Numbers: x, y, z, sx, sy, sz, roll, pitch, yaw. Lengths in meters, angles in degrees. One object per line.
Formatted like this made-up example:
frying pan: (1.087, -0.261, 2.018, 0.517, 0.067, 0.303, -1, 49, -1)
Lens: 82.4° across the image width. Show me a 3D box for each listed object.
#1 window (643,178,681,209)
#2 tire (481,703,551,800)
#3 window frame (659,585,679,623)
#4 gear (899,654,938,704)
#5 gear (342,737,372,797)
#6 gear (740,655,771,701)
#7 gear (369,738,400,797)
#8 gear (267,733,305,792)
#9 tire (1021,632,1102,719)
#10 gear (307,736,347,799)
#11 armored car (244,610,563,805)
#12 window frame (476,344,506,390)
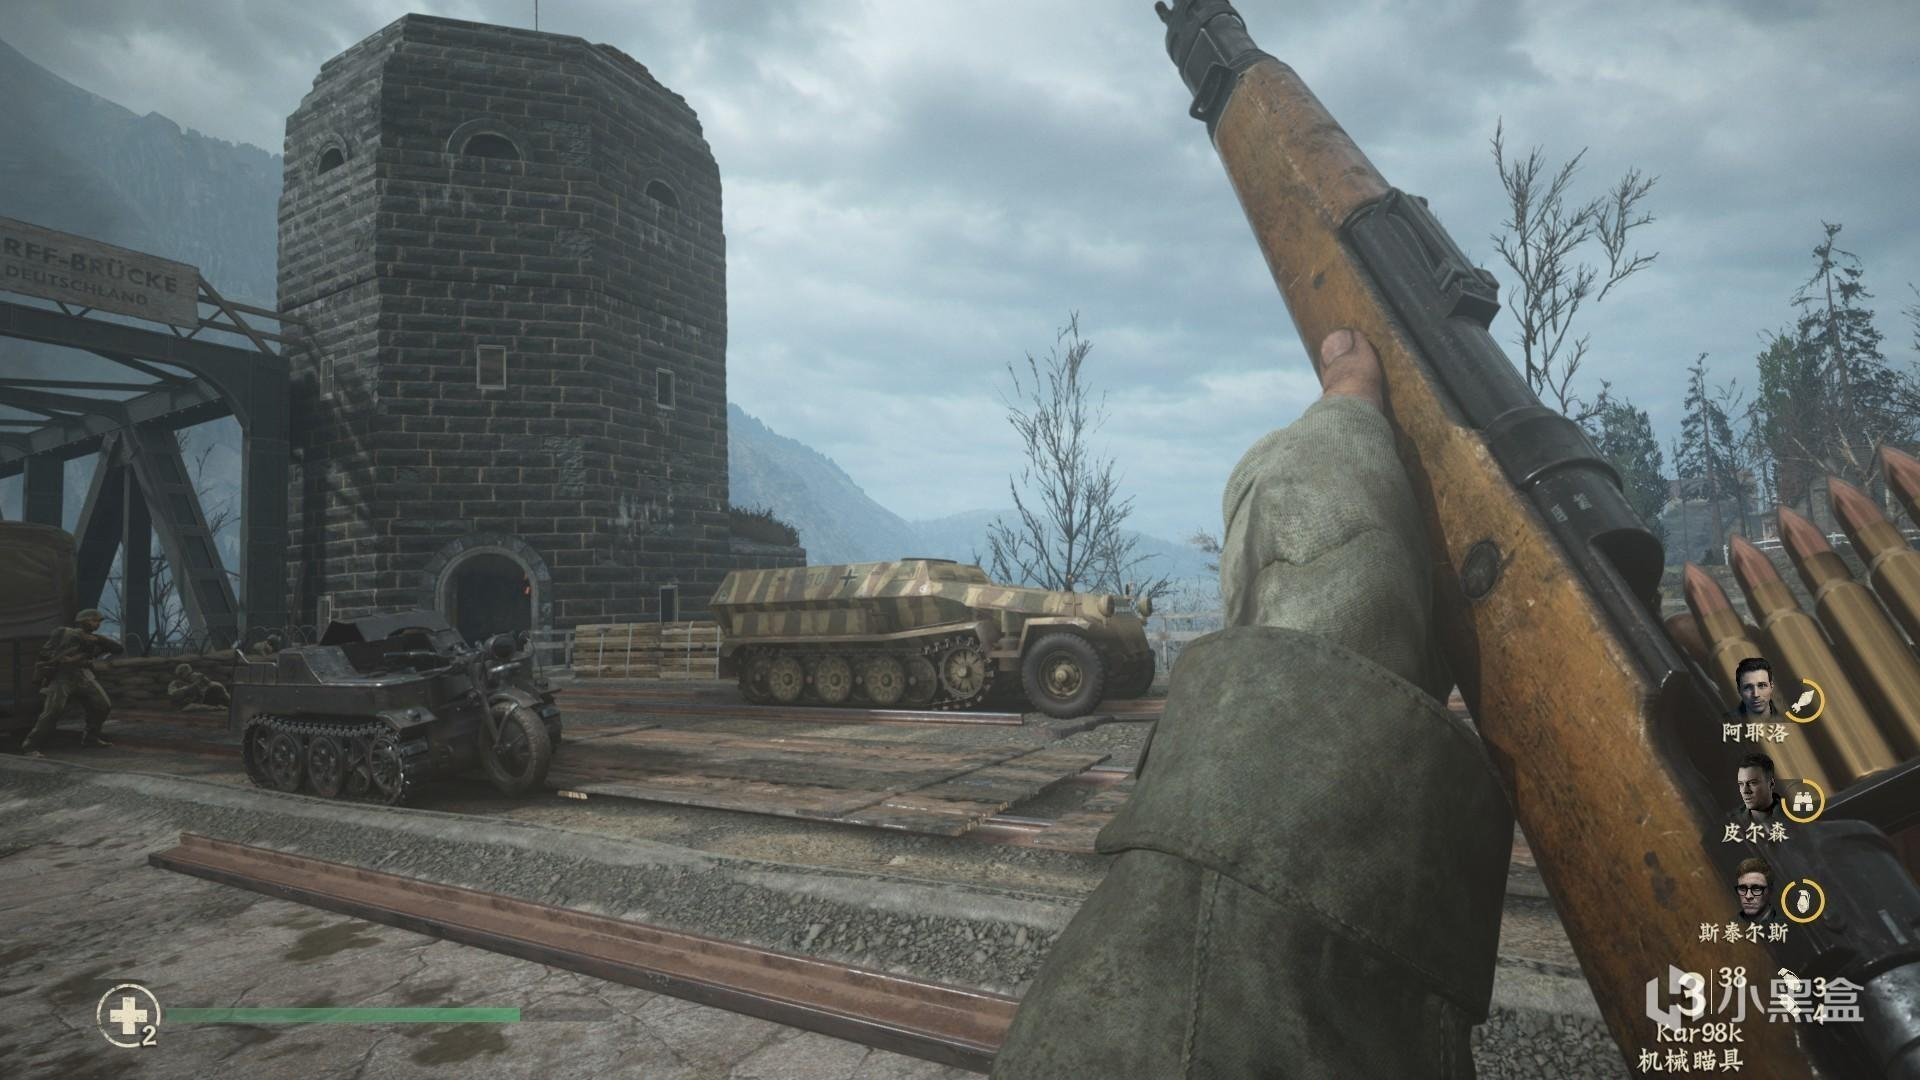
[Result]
window: (-8.850, -10.399, 32.959, 0.148, 0.663, 0.675, -12, -6, 30)
tire: (-6.839, 3.208, 17.027, 1.128, 1.436, 0.310, -3, -6, 21)
window frame: (-8.356, 1.844, 31.639, 0.125, 1.286, 0.978, -7, -7, 37)
gear: (-0.765, 2.860, 22.396, 0.876, 0.900, 0.896, 3, -10, 1)
gear: (-9.208, 3.486, 16.810, 0.525, 0.912, 0.182, -3, -6, 21)
gear: (-4.325, 2.932, 23.638, 0.974, 1.001, 0.334, -1, 0, 45)
gear: (-8.578, 3.431, 16.549, 0.706, 1.006, 0.163, -3, -6, 20)
gear: (-10.534, 3.484, 17.268, 0.867, 0.984, 0.324, -2, -8, 30)
tire: (2.075, 2.609, 21.362, 1.703, 1.742, 0.579, -9, -5, 31)
gear: (-9.694, 3.470, 16.935, 0.948, 1.121, 0.181, 0, 0, 39)
armored car: (-8.771, 2.680, 17.599, 4.364, 2.178, 2.844, 0, 1, 20)
window frame: (-12.743, -4.731, 30.003, 0.786, 1.243, 0.133, 2, -6, -19)
